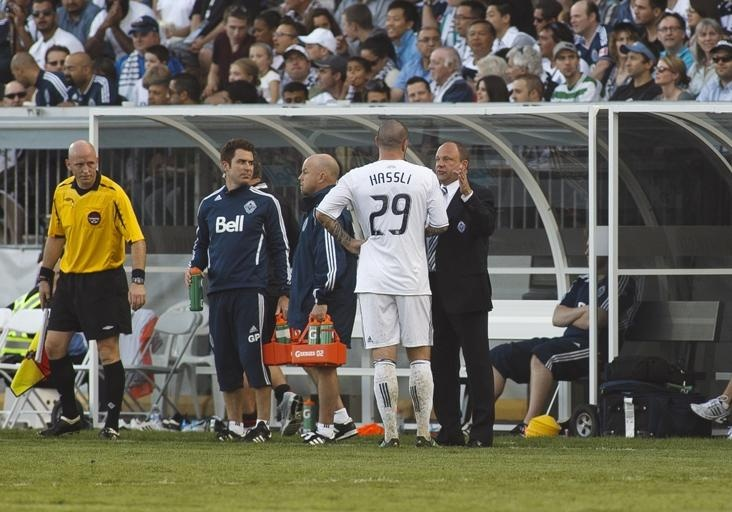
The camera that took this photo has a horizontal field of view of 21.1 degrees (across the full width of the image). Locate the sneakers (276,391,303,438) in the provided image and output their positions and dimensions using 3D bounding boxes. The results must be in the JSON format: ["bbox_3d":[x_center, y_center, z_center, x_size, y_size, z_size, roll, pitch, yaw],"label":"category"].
[{"bbox_3d":[-0.727,1.479,18.336,0.166,0.440,0.212,-14,41,-30],"label":"sneakers"}]

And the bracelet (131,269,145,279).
[{"bbox_3d":[-2.070,0.164,17.781,0.101,0.113,0.067,-1,-4,-15],"label":"bracelet"}]

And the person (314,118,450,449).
[{"bbox_3d":[0.209,0.224,16.996,1.020,2.794,0.418,-2,-4,1],"label":"person"}]

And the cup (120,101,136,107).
[{"bbox_3d":[-2.666,-1.704,21.965,0.143,0.081,0.286,-1,-4,-8],"label":"cup"}]

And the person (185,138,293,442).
[{"bbox_3d":[-1.138,0.304,17.756,0.887,2.682,0.394,-2,-4,-1],"label":"person"}]

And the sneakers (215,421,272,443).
[{"bbox_3d":[-1.093,1.578,17.814,0.516,0.223,0.186,6,-5,0],"label":"sneakers"}]

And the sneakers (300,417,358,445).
[{"bbox_3d":[-0.328,1.576,17.824,0.517,0.212,0.180,0,-5,-38],"label":"sneakers"}]

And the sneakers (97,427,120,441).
[{"bbox_3d":[-2.316,1.582,17.702,0.150,0.088,0.056,3,-24,-35],"label":"sneakers"}]

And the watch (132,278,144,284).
[{"bbox_3d":[-2.073,0.214,17.785,0.083,0.052,0.075,2,-1,-22],"label":"watch"}]

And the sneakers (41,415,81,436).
[{"bbox_3d":[-2.792,1.522,17.891,0.401,0.166,0.145,-2,0,-13],"label":"sneakers"}]

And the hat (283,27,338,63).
[{"bbox_3d":[-0.591,-2.324,21.689,0.466,0.235,0.289,4,20,-14],"label":"hat"}]

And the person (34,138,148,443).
[{"bbox_3d":[-2.512,0.297,17.887,1.018,2.665,0.492,-2,-4,4],"label":"person"}]

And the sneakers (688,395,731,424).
[{"bbox_3d":[3.199,1.388,18.356,0.476,0.212,0.162,12,9,-4],"label":"sneakers"}]
